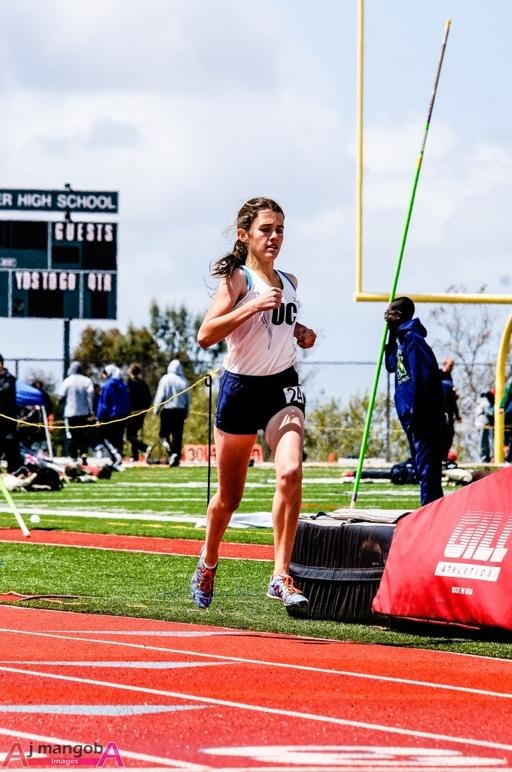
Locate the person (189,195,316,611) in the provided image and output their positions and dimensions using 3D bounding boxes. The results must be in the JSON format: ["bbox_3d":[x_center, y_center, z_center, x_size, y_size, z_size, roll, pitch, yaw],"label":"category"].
[{"bbox_3d":[0.007,0.089,4.657,0.461,1.569,0.600,4,0,1],"label":"person"}]

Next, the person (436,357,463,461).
[{"bbox_3d":[2.549,0.272,16.458,0.500,1.680,0.509,-2,-33,14],"label":"person"}]

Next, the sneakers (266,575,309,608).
[{"bbox_3d":[0.130,0.780,4.621,0.108,0.118,0.230,4,1,-16],"label":"sneakers"}]

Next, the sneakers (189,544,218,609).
[{"bbox_3d":[-0.199,0.775,4.920,0.084,0.272,0.109,9,-19,-25],"label":"sneakers"}]
